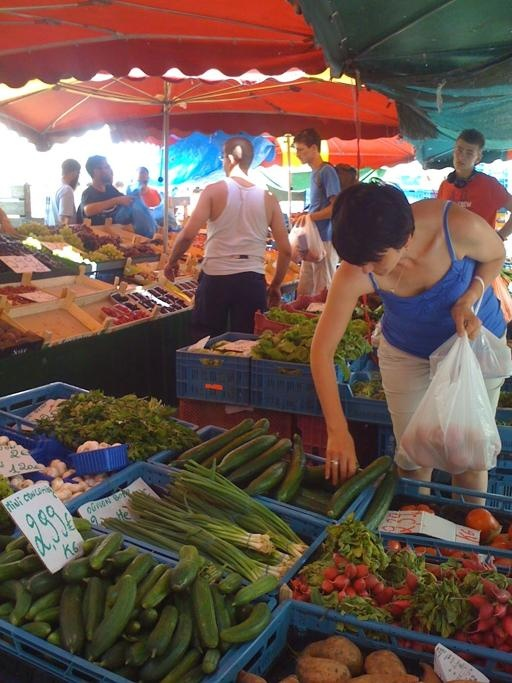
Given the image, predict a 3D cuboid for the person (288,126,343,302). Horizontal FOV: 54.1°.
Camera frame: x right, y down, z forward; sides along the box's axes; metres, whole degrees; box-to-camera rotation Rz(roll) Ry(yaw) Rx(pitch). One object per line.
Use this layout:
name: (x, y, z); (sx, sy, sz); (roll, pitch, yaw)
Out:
person: (0.742, -1.374, 6.239); (0.696, 2.344, 0.816); (-7, 23, -13)

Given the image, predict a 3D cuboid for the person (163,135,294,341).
person: (-0.226, -0.856, 4.607); (0.810, 1.959, 0.880); (3, 9, 13)

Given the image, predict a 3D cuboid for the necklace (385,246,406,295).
necklace: (0.600, -0.275, 2.104); (0.099, 0.131, 0.034); (5, 34, 10)

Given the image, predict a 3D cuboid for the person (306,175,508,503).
person: (0.595, -0.145, 2.195); (1.008, 1.420, 0.998); (3, 13, 7)

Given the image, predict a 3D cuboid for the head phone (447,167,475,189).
head phone: (1.954, -1.552, 4.751); (0.165, 0.089, 0.216); (-1, 6, 7)

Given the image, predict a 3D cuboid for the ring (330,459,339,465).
ring: (0.330, 0.501, 2.089); (0.024, 0.008, 0.032); (0, 4, 0)
